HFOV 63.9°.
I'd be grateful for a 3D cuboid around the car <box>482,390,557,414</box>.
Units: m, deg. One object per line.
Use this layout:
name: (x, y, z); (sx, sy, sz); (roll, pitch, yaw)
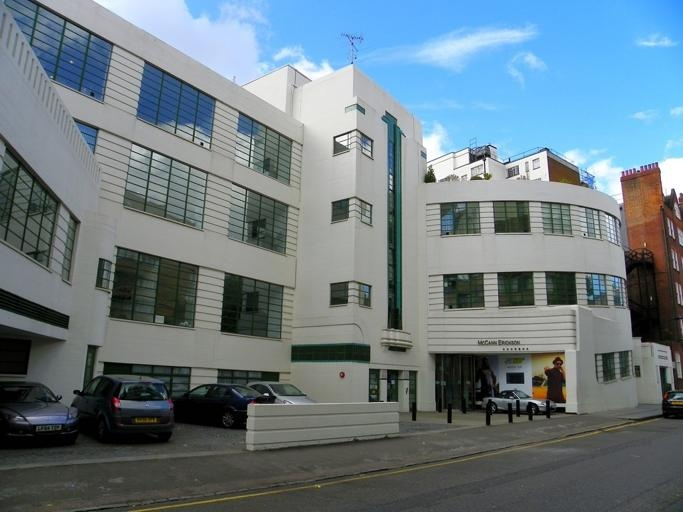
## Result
car: (10.132, 8.575, 31.813); (1.864, 1.289, 3.016); (7, -11, -29)
